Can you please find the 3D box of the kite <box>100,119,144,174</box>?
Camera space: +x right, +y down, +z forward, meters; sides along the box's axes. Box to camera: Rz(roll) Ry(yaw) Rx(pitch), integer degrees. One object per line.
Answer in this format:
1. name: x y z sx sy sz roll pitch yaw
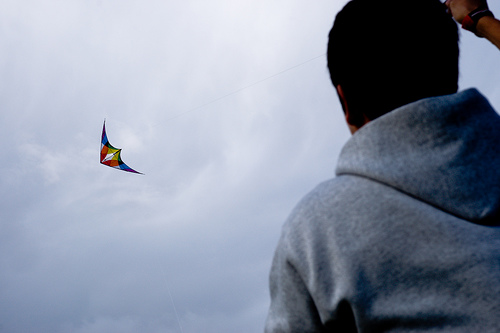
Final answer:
1. kite: -2.000 -0.189 10.082 0.443 1.074 0.024 -41 -22 -1
